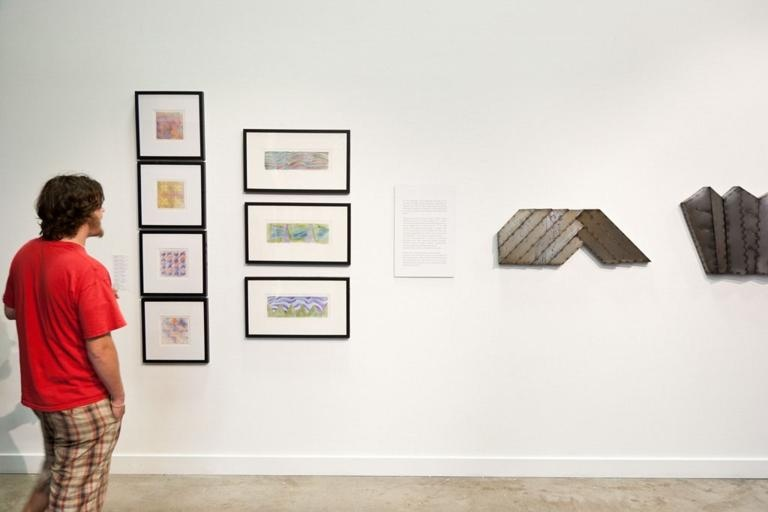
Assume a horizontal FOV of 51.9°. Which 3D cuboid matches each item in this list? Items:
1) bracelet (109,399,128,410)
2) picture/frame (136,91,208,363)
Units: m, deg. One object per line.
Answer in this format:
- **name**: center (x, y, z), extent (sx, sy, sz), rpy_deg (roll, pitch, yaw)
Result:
- **bracelet**: center (-1.753, 0.977, 5.171), extent (0.059, 0.059, 0.061), rpy_deg (5, -18, 2)
- **picture/frame**: center (-1.567, -0.212, 5.809), extent (0.538, 1.982, 0.146), rpy_deg (1, -2, 2)
